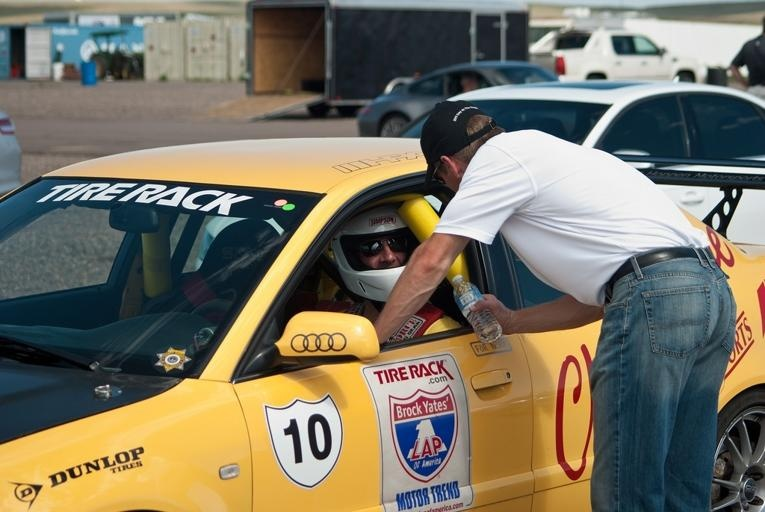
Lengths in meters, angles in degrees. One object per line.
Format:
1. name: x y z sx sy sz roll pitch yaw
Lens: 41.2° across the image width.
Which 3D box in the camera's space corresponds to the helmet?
1. helmet: -0.069 -0.008 4.799 0.388 0.417 0.476 -2 4 -38
